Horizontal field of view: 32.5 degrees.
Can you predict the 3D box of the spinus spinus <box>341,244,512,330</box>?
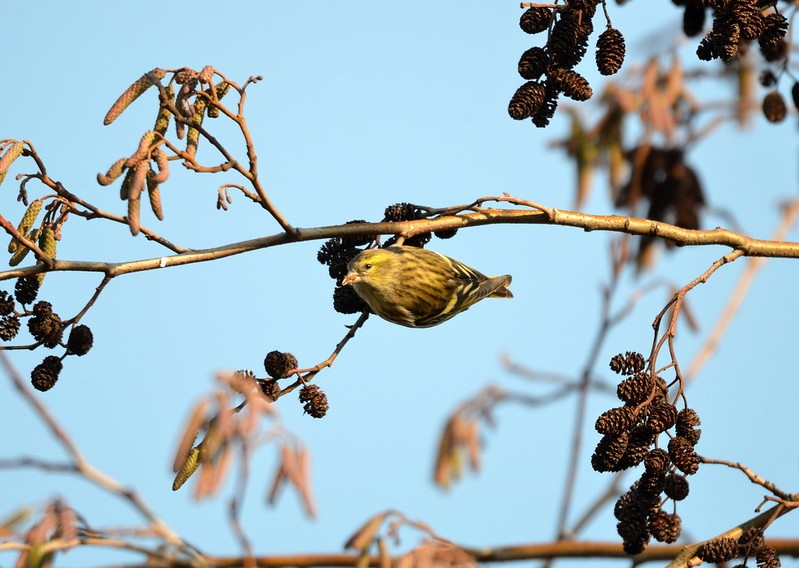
[{"bbox_3d":[0.079,-0.046,6.647,0.964,0.393,0.396,-6,-21,-46],"label":"spinus spinus"}]
